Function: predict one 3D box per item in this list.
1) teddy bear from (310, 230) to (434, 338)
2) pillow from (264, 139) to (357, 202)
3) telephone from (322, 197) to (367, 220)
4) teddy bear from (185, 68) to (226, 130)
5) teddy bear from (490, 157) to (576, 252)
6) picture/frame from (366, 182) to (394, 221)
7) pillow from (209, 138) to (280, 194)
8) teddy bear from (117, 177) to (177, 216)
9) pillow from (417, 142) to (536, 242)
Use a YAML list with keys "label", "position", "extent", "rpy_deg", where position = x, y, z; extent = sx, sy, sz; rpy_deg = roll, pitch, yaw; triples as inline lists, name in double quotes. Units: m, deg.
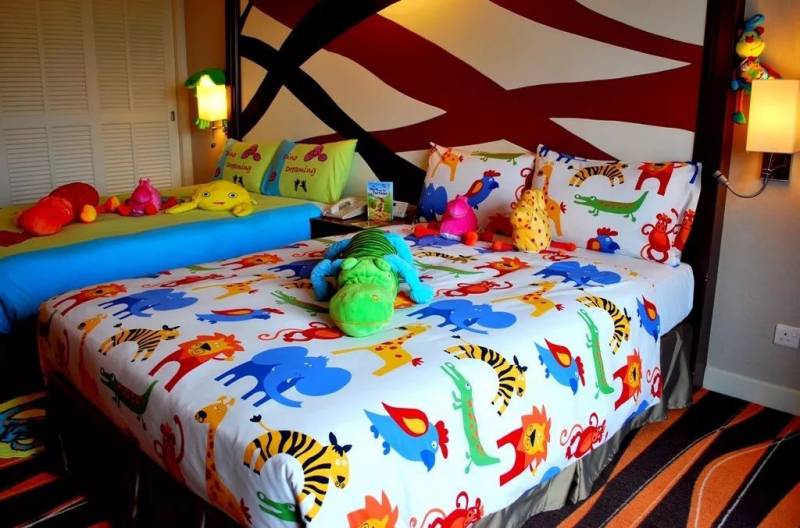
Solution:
- label: "teddy bear"
  position: [-0.135, 0.056, 2.329]
  extent: [0.578, 0.278, 0.816]
  rpy_deg: [0, 26, -2]
- label: "pillow"
  position: [-0.701, -0.735, 4.140]
  extent: [0.509, 0.306, 0.227]
  rpy_deg: [9, 23, 30]
- label: "telephone"
  position: [-0.403, -0.417, 3.890]
  extent: [0.187, 0.092, 0.259]
  rpy_deg: [12, 22, 38]
- label: "teddy bear"
  position: [-1.814, -1.573, 4.869]
  extent: [0.342, 0.536, 0.291]
  rpy_deg: [14, 23, 32]
- label: "teddy bear"
  position: [0.753, -0.349, 2.928]
  extent: [0.545, 0.364, 0.345]
  rpy_deg: [-4, 6, -39]
- label: "picture/frame"
  position: [-0.140, -0.451, 3.728]
  extent: [0.252, 0.328, 0.037]
  rpy_deg: [11, 20, 32]
- label: "pillow"
  position: [-1.303, -0.835, 4.381]
  extent: [0.702, 0.458, 0.251]
  rpy_deg: [12, 8, 36]
- label: "teddy bear"
  position: [-1.836, -0.475, 3.723]
  extent: [0.303, 0.152, 0.335]
  rpy_deg: [0, 8, -8]
- label: "pillow"
  position: [0.505, -0.438, 3.205]
  extent: [0.653, 0.413, 0.164]
  rpy_deg: [12, -1, 44]
